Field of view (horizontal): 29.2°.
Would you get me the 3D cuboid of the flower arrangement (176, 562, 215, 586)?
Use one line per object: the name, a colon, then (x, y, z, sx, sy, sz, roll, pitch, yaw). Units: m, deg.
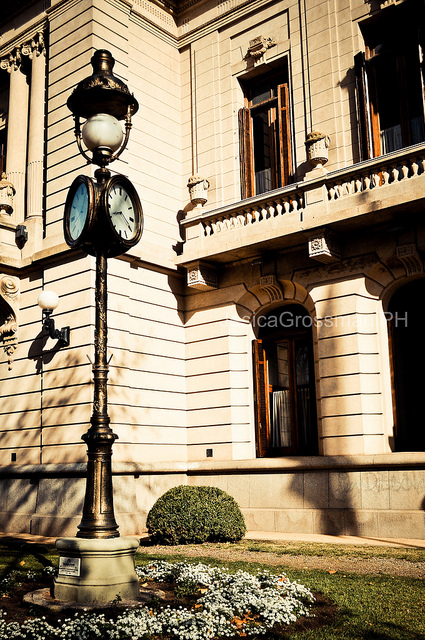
flower arrangement: (-0.193, 2.858, 9.197, 0.318, 0.177, 0.331, 2, -5, -5)

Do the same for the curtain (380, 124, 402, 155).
curtain: (3.659, -3.712, 16.671, 0.117, 0.536, 0.534, 3, -9, -41)

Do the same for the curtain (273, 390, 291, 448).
curtain: (1.536, 2.176, 18.066, 0.598, 1.224, 0.221, -9, -9, 44)

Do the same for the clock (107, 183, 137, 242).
clock: (-1.033, -1.253, 9.413, 0.081, 0.740, 0.742, -18, 33, -31)

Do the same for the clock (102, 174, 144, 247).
clock: (-1.006, -1.241, 9.212, 0.243, 0.846, 0.939, -4, -7, 10)

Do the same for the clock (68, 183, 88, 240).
clock: (-1.516, -1.245, 9.278, 0.133, 0.633, 0.540, 0, -7, -22)

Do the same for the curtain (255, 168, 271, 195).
curtain: (1.211, -3.289, 19.255, 0.164, 0.597, 0.517, 3, -9, -41)
